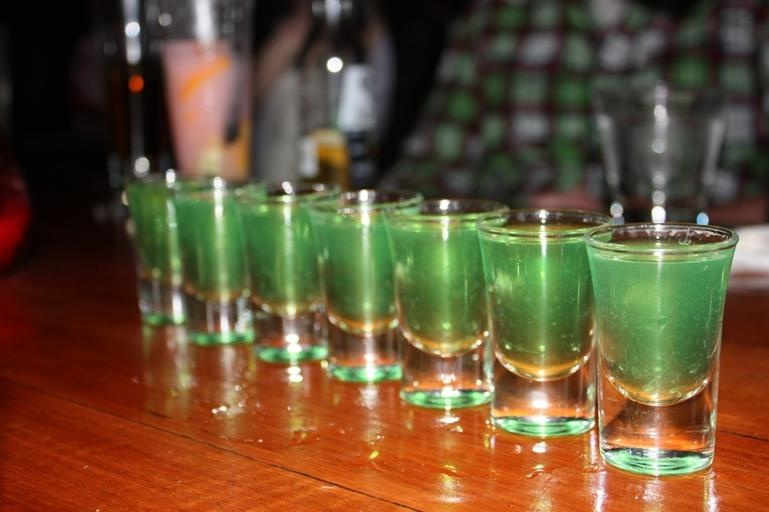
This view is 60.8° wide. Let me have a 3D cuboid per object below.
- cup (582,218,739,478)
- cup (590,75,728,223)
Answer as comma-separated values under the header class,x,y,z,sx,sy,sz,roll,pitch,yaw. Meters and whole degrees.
class,x,y,z,sx,sy,sz,roll,pitch,yaw
cup,0.227,0.075,0.551,0.114,0.200,0.084,2,12,20
cup,0.644,-0.221,1.517,0.340,0.297,0.327,-1,7,0
